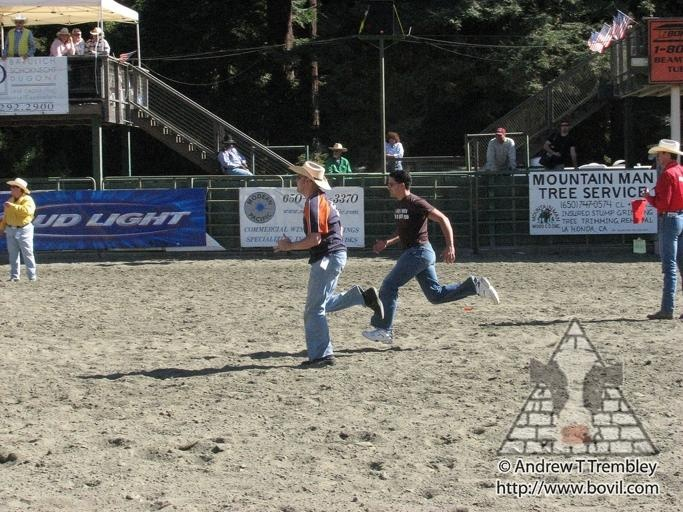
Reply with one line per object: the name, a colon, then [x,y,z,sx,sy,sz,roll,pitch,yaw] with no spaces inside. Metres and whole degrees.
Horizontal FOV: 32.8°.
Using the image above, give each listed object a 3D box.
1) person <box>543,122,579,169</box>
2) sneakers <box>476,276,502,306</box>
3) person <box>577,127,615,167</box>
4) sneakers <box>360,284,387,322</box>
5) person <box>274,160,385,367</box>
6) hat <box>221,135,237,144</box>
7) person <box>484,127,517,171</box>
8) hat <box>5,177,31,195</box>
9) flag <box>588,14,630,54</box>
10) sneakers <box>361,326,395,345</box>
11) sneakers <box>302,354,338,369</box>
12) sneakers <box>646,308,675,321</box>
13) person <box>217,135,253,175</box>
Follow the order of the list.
person: [5.256,-2.640,28.063,0.792,1.194,1.886,0,13,9]
sneakers: [2.462,0.606,19.342,0.280,0.541,0.188,-26,27,24]
person: [8.142,-3.532,37.163,1.208,1.165,0.529,0,15,9]
sneakers: [0.483,0.701,17.316,0.301,0.619,0.219,-33,17,-5]
person: [-0.247,0.084,16.901,1.349,2.910,1.478,-2,14,1]
hat: [-2.919,-2.926,29.388,0.400,0.160,0.351,0,0,-8]
person: [3.781,-2.467,27.461,0.838,0.949,1.181,2,4,28]
hat: [-6.676,-1.400,23.728,0.299,0.322,0.607,-4,13,-9]
flag: [6.968,-5.758,30.028,1.048,1.065,1.476,0,13,11]
sneakers: [0.471,1.185,17.583,0.626,0.252,0.186,13,22,-8]
sneakers: [-0.316,1.519,16.803,0.558,0.183,0.175,-3,-10,-1]
sneakers: [5.141,0.955,18.635,0.475,0.156,0.146,5,2,17]
person: [-2.655,-2.464,28.963,0.891,0.960,0.913,-13,14,-43]
